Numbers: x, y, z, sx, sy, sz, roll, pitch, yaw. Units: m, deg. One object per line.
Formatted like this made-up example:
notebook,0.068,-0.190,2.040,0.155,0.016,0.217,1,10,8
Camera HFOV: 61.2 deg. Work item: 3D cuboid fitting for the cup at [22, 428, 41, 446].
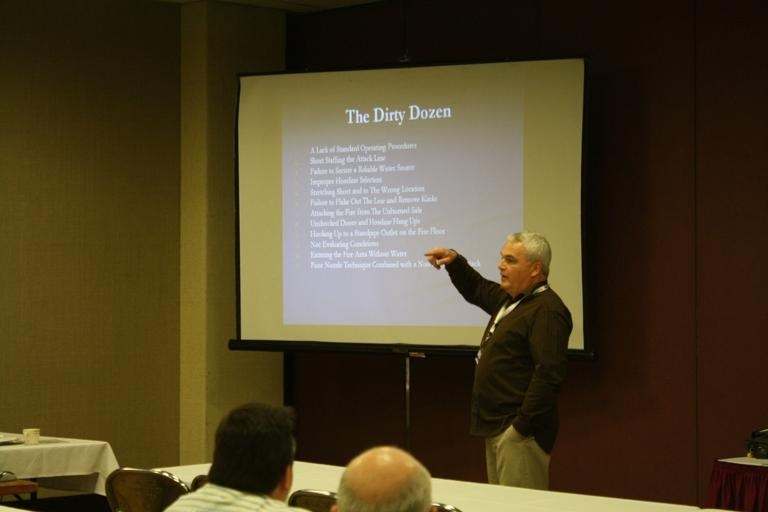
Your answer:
cup,-2.278,1.162,4.195,0.086,0.095,0.091,0,-2,0

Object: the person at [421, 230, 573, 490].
person,0.777,0.588,3.696,0.513,1.467,0.347,-2,-3,44
